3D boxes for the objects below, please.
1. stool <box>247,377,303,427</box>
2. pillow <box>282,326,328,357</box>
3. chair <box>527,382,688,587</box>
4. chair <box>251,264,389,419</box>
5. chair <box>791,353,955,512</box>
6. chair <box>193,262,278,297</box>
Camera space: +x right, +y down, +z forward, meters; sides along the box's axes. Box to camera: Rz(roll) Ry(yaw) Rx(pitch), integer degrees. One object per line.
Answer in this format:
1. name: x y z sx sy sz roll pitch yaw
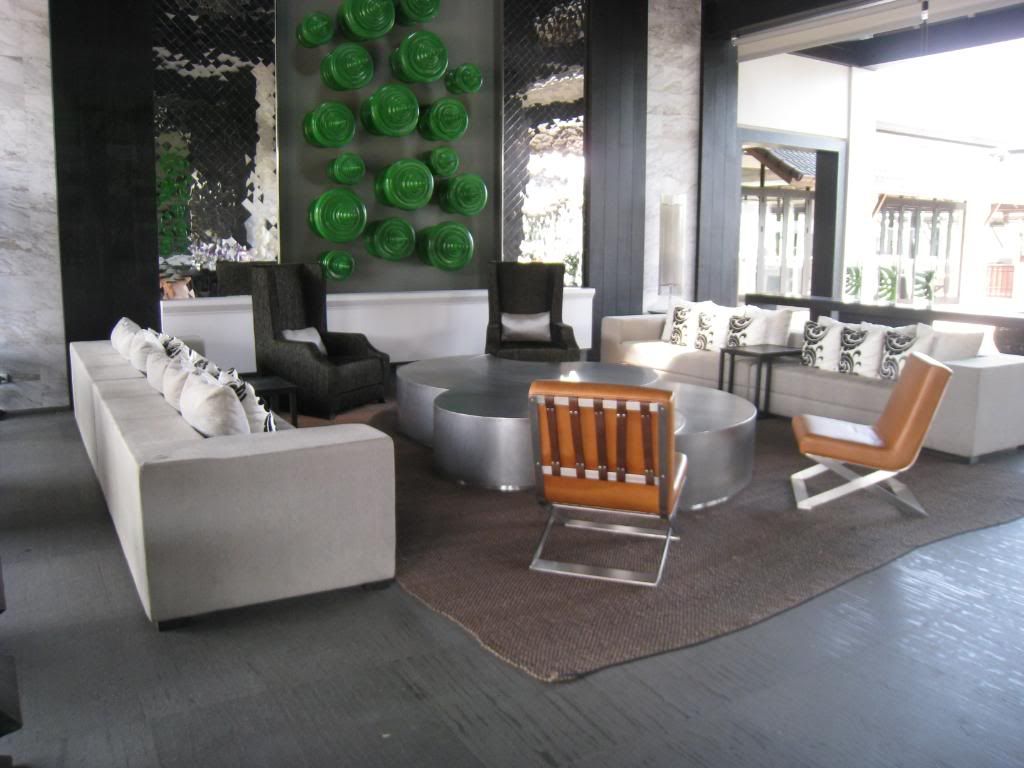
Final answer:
1. stool: -2.055 0.062 6.455 0.499 0.246 0.267 18 -12 -36
2. pillow: -1.968 -0.420 7.176 0.297 0.088 0.290 32 15 21
3. chair: 0.531 0.424 4.128 0.768 1.027 0.764 4 14 14
4. chair: -1.823 -0.474 7.149 1.047 1.305 0.862 6 12 30
5. chair: 2.254 0.266 4.903 0.828 0.931 0.694 2 11 18
6. chair: -2.831 -1.065 7.726 0.453 0.316 0.249 -5 17 -25
